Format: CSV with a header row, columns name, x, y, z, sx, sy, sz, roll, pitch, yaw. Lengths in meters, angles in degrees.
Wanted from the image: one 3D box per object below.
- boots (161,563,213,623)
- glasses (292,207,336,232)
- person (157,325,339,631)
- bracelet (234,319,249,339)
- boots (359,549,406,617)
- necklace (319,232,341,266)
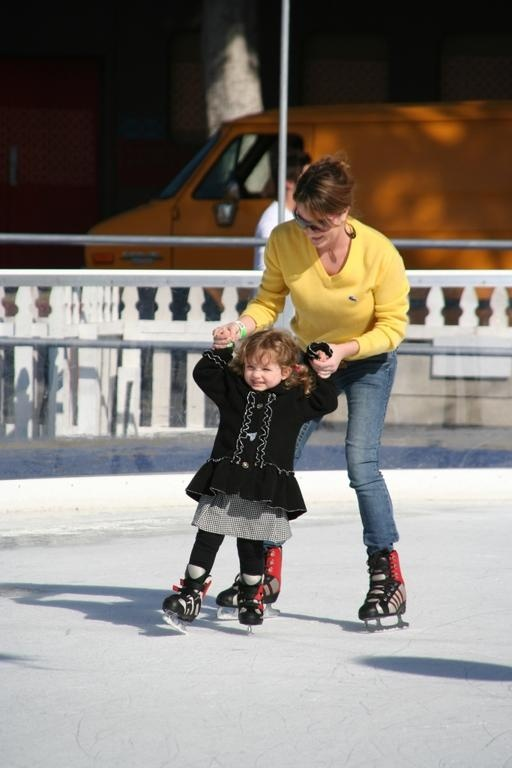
name,x,y,z,sx,sy,sz,roll,pitch,yaw
boots,-0.189,0.586,3.071,0.104,0.184,0.193,4,2,5
glasses,0.148,-0.427,2.962,0.106,0.058,0.074,3,2,8
person,-0.006,0.268,3.113,0.422,0.838,0.325,3,3,4
bracelet,-0.046,-0.164,3.292,0.034,0.046,0.050,-5,4,-27
boots,0.363,0.580,3.229,0.123,0.173,0.197,3,2,6
necklace,0.198,-0.371,3.110,0.061,0.076,0.030,0,17,37
